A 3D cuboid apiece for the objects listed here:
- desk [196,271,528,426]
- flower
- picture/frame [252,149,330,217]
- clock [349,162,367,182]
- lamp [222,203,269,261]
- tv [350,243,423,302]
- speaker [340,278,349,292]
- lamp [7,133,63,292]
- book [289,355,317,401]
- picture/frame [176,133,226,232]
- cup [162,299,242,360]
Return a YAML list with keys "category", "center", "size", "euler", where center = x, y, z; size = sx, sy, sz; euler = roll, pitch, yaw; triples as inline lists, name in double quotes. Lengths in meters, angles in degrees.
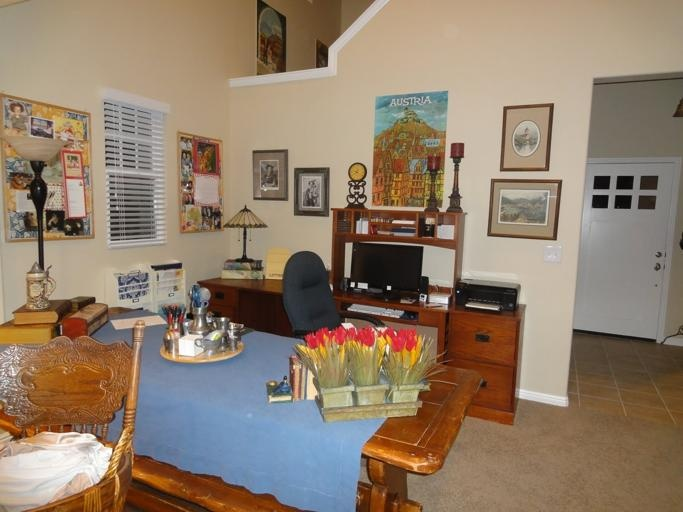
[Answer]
- category: "desk"
  center: [0.018, 0.830, 4.464]
  size: [3.045, 1.088, 0.814]
  euler: [6, 3, -10]
- category: "flower"
  center: [0.145, 0.559, 2.711]
  size: [0.501, 0.255, 0.405]
  euler: [0, 1, -11]
- category: "picture/frame"
  center: [-0.523, -0.822, 5.361]
  size: [0.682, 0.590, 0.034]
  euler: [4, 6, 19]
- category: "clock"
  center: [0.167, -0.865, 5.028]
  size: [0.179, 0.198, 0.038]
  euler: [13, 10, 22]
- category: "lamp"
  center: [-1.080, -0.265, 5.671]
  size: [0.554, 0.715, 0.586]
  euler: [1, 2, 7]
- category: "tv"
  center: [0.468, 0.162, 4.769]
  size: [0.479, 0.378, 0.131]
  euler: [4, 7, 21]
- category: "speaker"
  center: [0.041, 0.305, 5.018]
  size: [0.117, 0.141, 0.086]
  euler: [5, 4, 40]
- category: "lamp"
  center: [-2.174, -0.342, 3.523]
  size: [0.340, 1.048, 0.739]
  euler: [-8, 15, -34]
- category: "book"
  center: [-0.215, 0.687, 2.800]
  size: [0.171, 0.315, 0.317]
  euler: [-1, -1, -2]
- category: "picture/frame"
  center: [-1.506, -0.781, 5.217]
  size: [0.150, 1.028, 0.738]
  euler: [5, 13, 19]
- category: "cup"
  center: [-0.900, 0.429, 3.042]
  size: [0.355, 0.228, 0.367]
  euler: [2, 2, 0]
